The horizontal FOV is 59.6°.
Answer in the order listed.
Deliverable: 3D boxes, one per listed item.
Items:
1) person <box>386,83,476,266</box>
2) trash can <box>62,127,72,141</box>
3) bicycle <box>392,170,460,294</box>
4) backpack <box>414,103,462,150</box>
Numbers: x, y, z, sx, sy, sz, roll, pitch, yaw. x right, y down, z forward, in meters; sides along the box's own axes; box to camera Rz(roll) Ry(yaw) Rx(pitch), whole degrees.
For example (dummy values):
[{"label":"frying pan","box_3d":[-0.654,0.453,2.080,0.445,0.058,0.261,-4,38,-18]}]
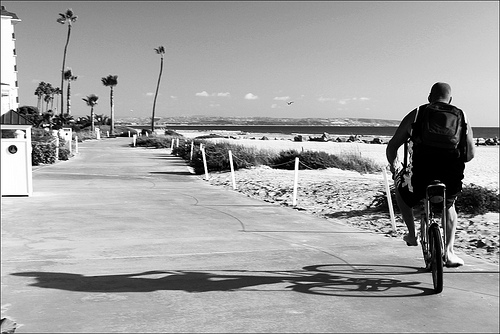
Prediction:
[{"label":"person","box_3d":[2.396,0.130,5.915,1.109,2.533,1.154,4,6,23]},{"label":"trash can","box_3d":[-14.397,-2.606,34.560,0.578,0.970,2.995,-1,6,-24]},{"label":"bicycle","box_3d":[2.463,0.902,5.889,0.570,1.547,0.978,3,6,19]},{"label":"backpack","box_3d":[2.436,-0.530,5.628,0.503,0.594,0.364,10,-7,4]}]
